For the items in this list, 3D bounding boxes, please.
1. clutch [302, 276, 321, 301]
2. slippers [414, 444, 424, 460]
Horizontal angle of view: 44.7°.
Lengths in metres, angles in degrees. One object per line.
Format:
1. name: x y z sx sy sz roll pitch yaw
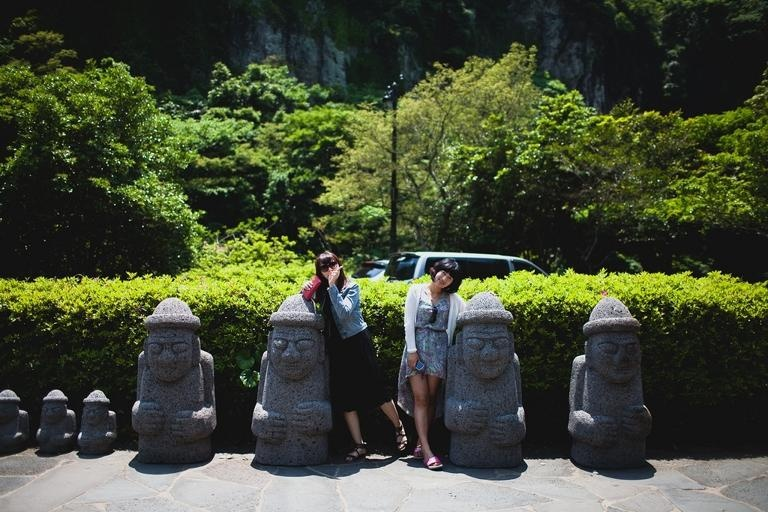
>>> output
1. clutch: -1.706 0.808 22.692 0.139 0.535 0.503 34 -34 -31
2. slippers: 0.857 4.789 22.655 0.243 0.288 0.705 0 -12 3
